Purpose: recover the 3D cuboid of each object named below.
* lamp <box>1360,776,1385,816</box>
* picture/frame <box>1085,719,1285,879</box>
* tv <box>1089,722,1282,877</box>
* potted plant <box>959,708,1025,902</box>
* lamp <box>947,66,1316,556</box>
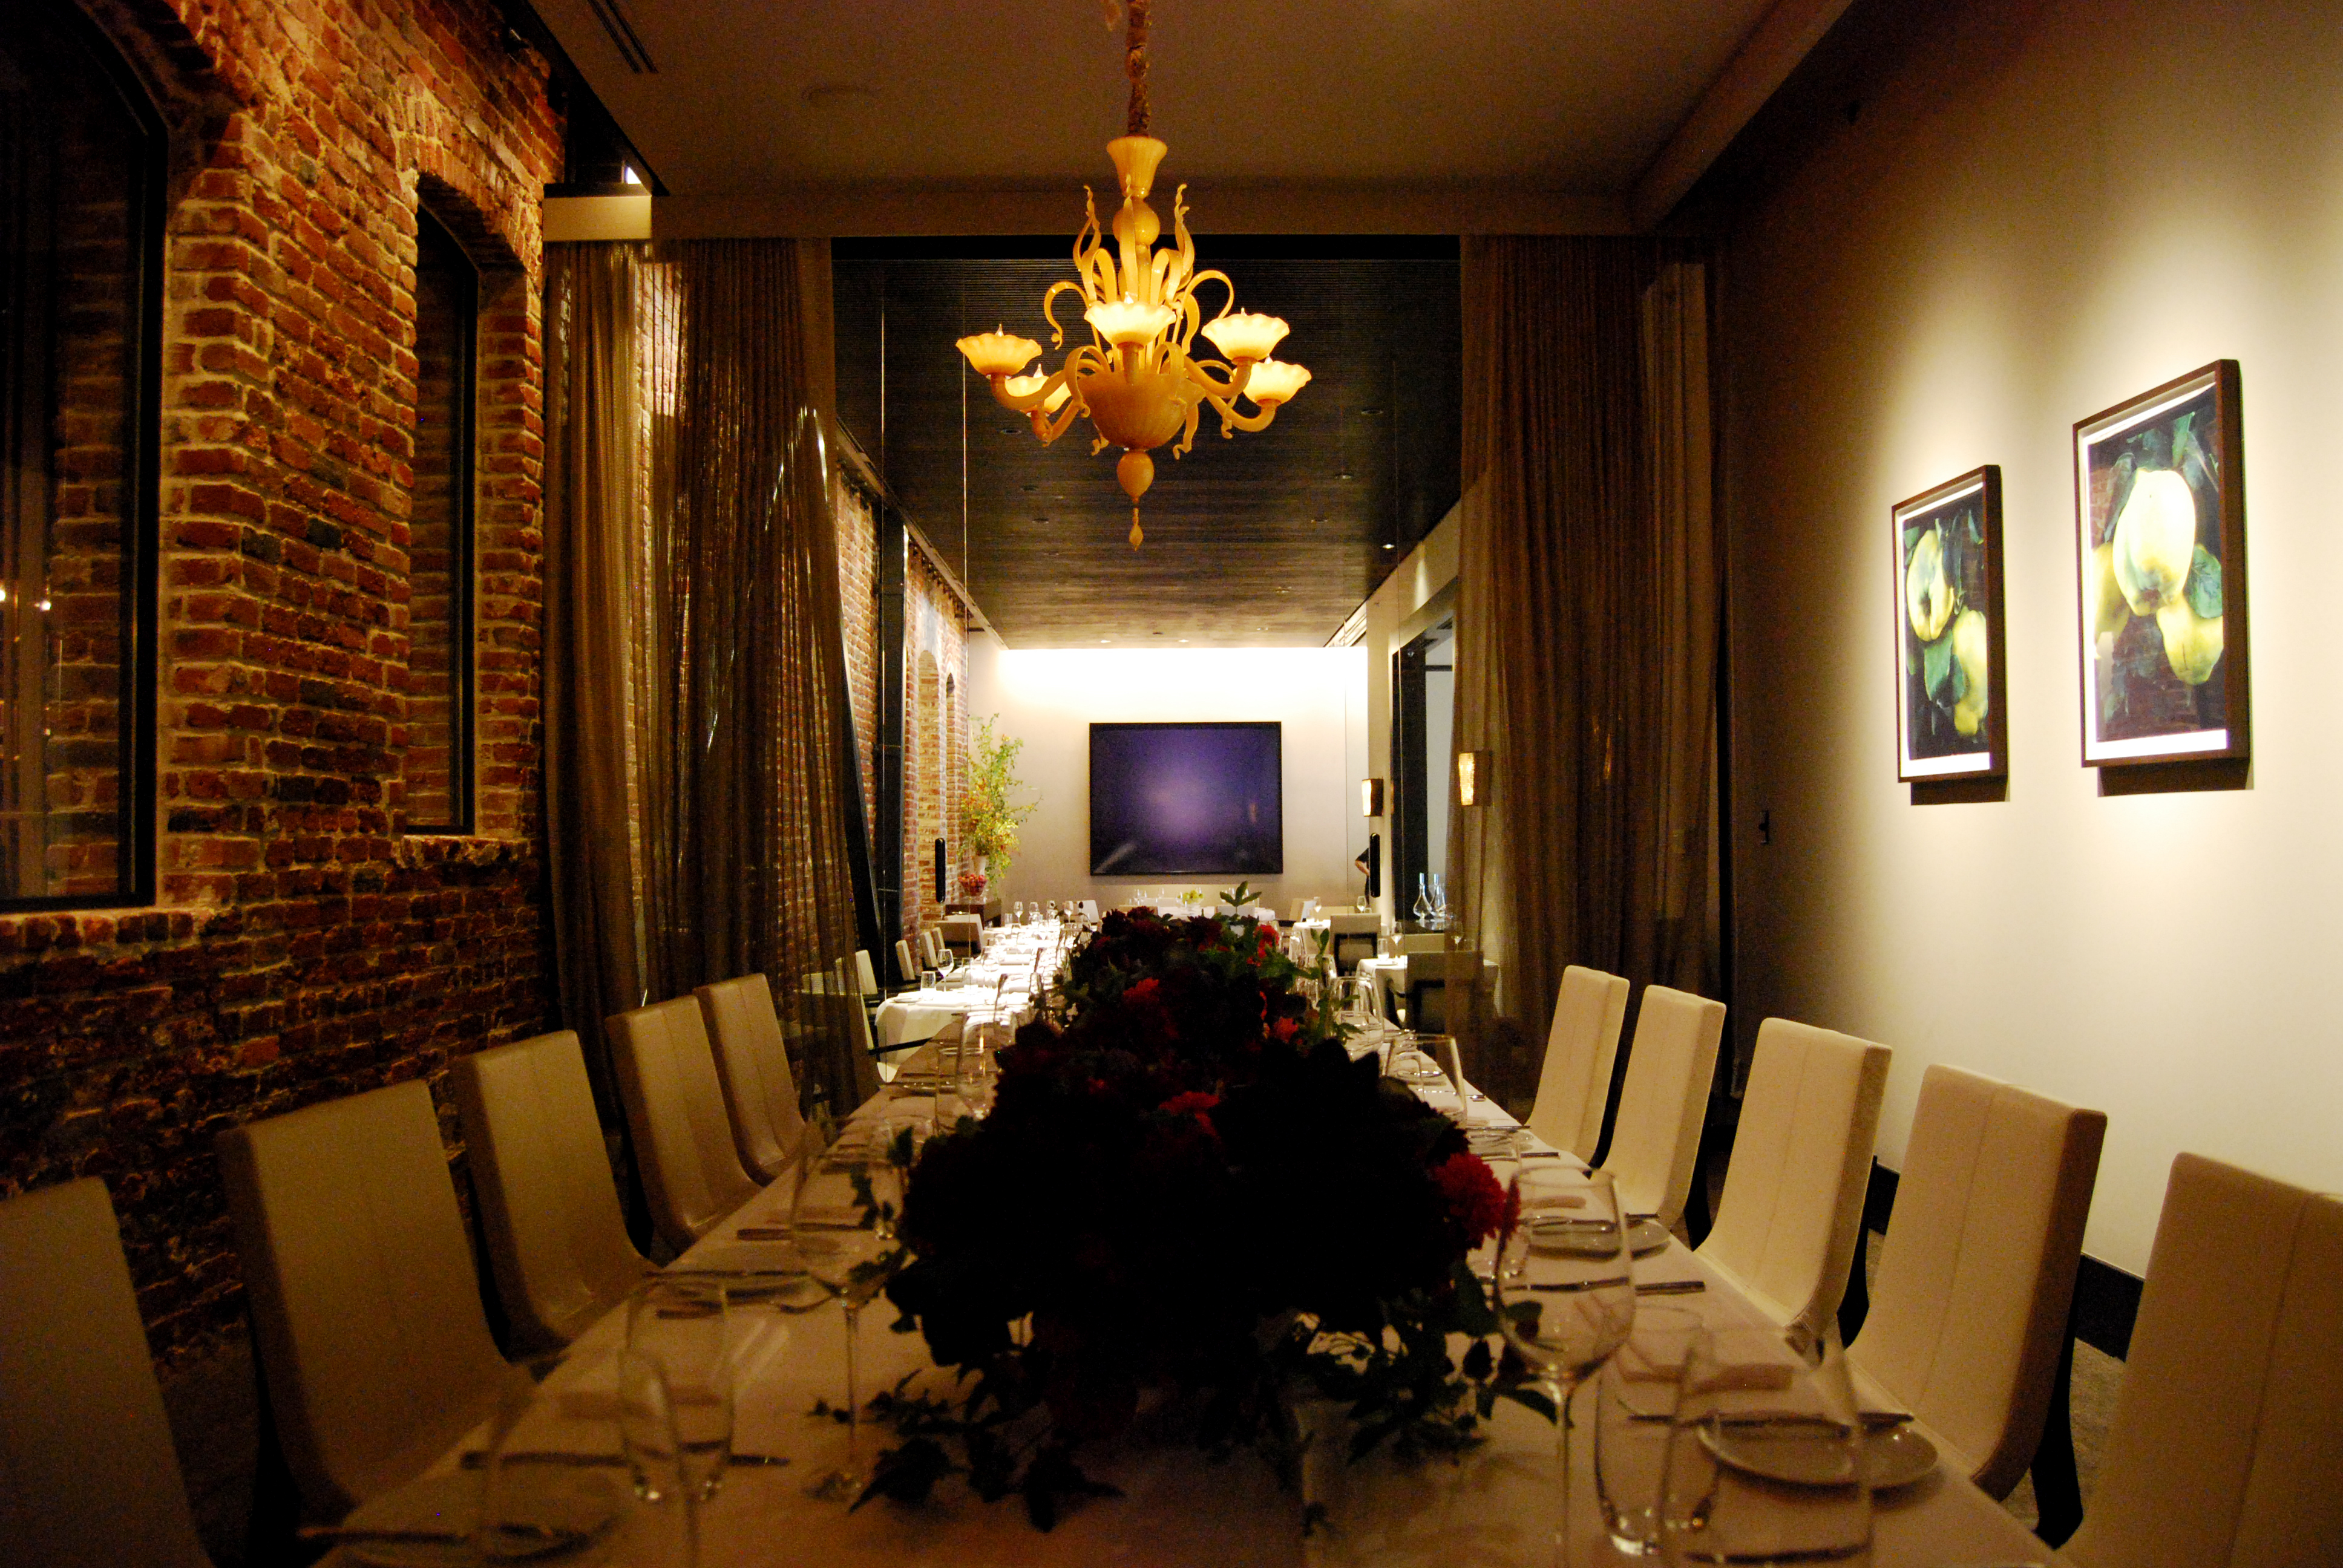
[{"bbox_3d":[1.660,0.104,13.219,0.256,0.327,0.272,0,5,0],"label":"lamp"},{"bbox_3d":[0.051,0.219,18.141,1.580,1.308,0.173,0,-9,-4],"label":"picture/frame"},{"bbox_3d":[0.182,0.183,18.152,2.211,1.744,0.417,1,2,-8],"label":"tv"},{"bbox_3d":[-1.935,0.261,17.409,0.617,1.910,1.596,1,2,-5],"label":"potted plant"},{"bbox_3d":[-0.141,-1.730,5.630,1.190,1.634,1.188,0,-2,20],"label":"lamp"}]
